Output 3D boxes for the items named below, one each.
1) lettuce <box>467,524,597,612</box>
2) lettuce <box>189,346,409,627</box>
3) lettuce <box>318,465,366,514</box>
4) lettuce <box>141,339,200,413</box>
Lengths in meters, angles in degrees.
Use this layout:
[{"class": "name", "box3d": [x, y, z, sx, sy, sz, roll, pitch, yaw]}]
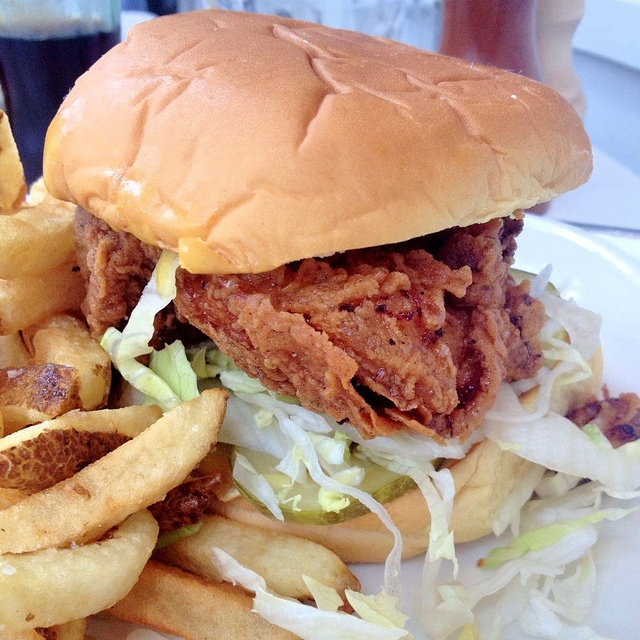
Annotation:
[{"class": "lettuce", "box3d": [0.433, 0.553, 1.774, 0.366, 0.137, 0.095, -25, 58, 9]}, {"class": "lettuce", "box3d": [-0.049, 0.355, 1.624, 0.637, 0.177, 0.219, 54, 25, -5]}, {"class": "lettuce", "box3d": [0.045, 0.360, 1.624, 0.085, 0.041, 0.105, 32, 72, 25]}, {"class": "lettuce", "box3d": [-0.329, 0.132, 1.750, 0.165, 0.039, 0.154, -4, 77, 31]}]
